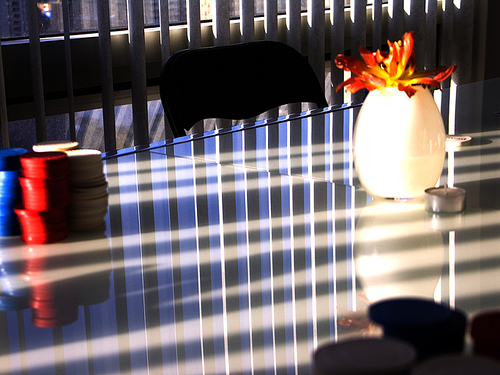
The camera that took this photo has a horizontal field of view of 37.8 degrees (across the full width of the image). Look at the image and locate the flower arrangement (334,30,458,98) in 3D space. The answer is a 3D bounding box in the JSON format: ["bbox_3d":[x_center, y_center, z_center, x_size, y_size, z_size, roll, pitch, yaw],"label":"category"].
[{"bbox_3d":[0.226,-0.198,1.163,0.161,0.082,0.180,5,-8,3],"label":"flower arrangement"}]

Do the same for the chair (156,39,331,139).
[{"bbox_3d":[-0.016,-0.280,1.939,0.557,0.213,0.119,-14,14,-42],"label":"chair"}]

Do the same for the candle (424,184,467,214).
[{"bbox_3d":[0.294,0.014,1.091,0.065,0.039,0.074,-2,11,12],"label":"candle"}]

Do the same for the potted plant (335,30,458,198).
[{"bbox_3d":[0.235,-0.097,1.189,0.157,0.270,0.202,-3,14,4],"label":"potted plant"}]

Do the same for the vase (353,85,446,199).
[{"bbox_3d":[0.246,-0.078,1.195,0.139,0.199,0.148,4,15,22],"label":"vase"}]
